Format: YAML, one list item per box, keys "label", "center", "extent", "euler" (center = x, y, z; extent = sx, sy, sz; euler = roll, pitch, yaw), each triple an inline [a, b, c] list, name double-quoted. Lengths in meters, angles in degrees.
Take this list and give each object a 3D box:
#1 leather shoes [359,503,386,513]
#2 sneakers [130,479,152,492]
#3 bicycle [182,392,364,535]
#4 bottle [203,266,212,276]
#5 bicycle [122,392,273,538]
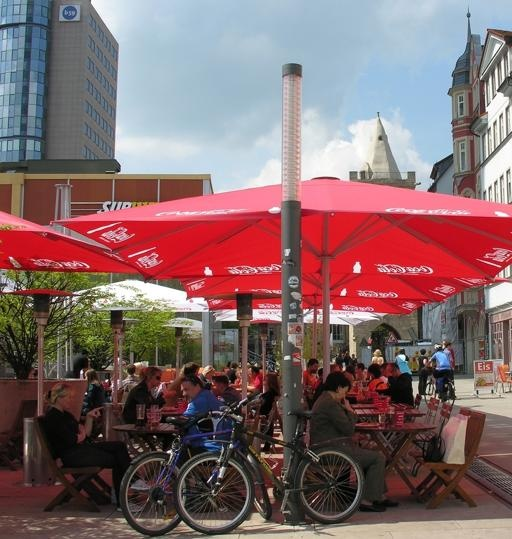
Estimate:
- label: "leather shoes"
  center: [1.142, 2.326, 7.033]
  extent: [0.249, 0.082, 0.084]
  euler: [-1, -1, -3]
- label: "sneakers"
  center: [-0.987, 1.862, 6.186]
  extent: [0.161, 0.097, 0.059]
  euler: [1, -8, -7]
- label: "bicycle"
  center: [0.096, 1.846, 6.734]
  extent: [2.005, 0.996, 0.858]
  euler: [2, -11, -15]
- label: "bottle"
  center: [-0.755, 0.008, 11.431]
  extent: [0.204, 0.238, 0.025]
  euler: [-1, -43, -3]
- label: "bicycle"
  center: [-0.727, 1.843, 6.443]
  extent: [1.801, 0.993, 0.798]
  euler: [-1, -1, -32]
